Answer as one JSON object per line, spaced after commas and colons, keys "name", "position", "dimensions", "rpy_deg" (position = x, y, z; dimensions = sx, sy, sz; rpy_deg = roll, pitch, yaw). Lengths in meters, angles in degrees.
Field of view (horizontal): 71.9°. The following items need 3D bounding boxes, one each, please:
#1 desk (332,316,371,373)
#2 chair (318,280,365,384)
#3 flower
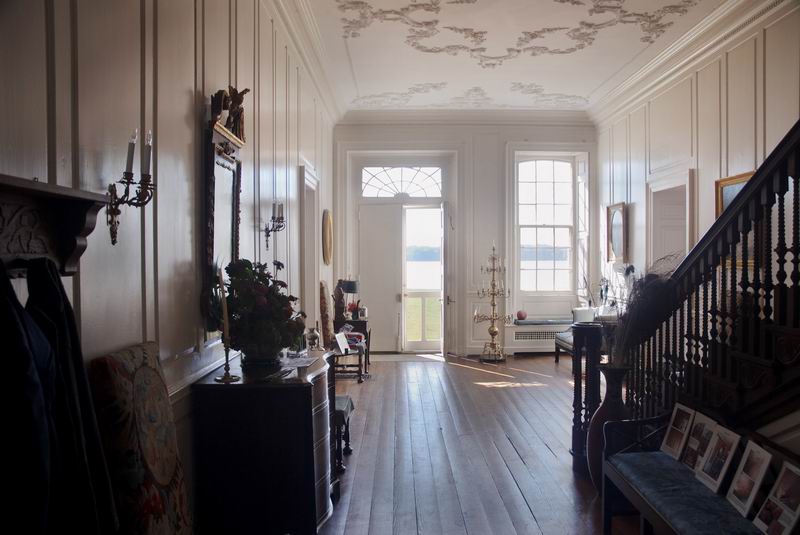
{"name": "desk", "position": [-0.620, 1.119, 7.649], "dimensions": [0.576, 0.750, 1.006], "rpy_deg": [0, -2, 2]}
{"name": "chair", "position": [-0.750, 0.838, 7.100], "dimensions": [0.505, 1.261, 1.241], "rpy_deg": [-1, -3, -2]}
{"name": "flower", "position": [-1.051, 0.269, 3.971], "dimensions": [0.619, 0.678, 0.663], "rpy_deg": [-3, 2, -19]}
